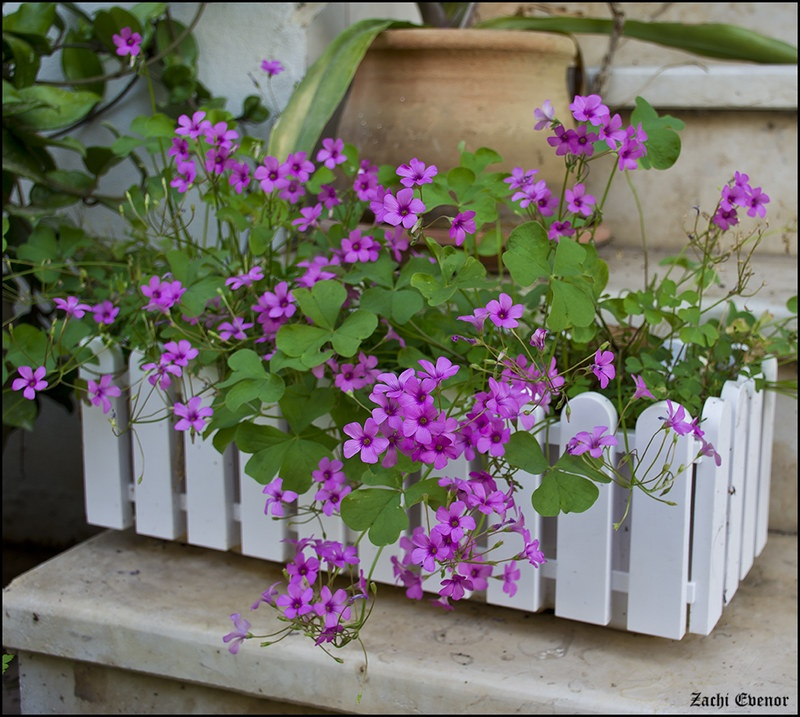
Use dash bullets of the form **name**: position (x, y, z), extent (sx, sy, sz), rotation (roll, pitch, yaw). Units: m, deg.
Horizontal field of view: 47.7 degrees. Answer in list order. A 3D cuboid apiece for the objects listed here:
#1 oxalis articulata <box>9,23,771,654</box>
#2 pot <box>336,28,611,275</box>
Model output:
- **oxalis articulata**: position (0.033, -0.031, 1.583), extent (1.408, 1.026, 0.468), rotation (6, -37, 4)
- **pot**: position (0.134, -0.372, 1.761), extent (0.439, 0.350, 0.433), rotation (0, 11, 0)
